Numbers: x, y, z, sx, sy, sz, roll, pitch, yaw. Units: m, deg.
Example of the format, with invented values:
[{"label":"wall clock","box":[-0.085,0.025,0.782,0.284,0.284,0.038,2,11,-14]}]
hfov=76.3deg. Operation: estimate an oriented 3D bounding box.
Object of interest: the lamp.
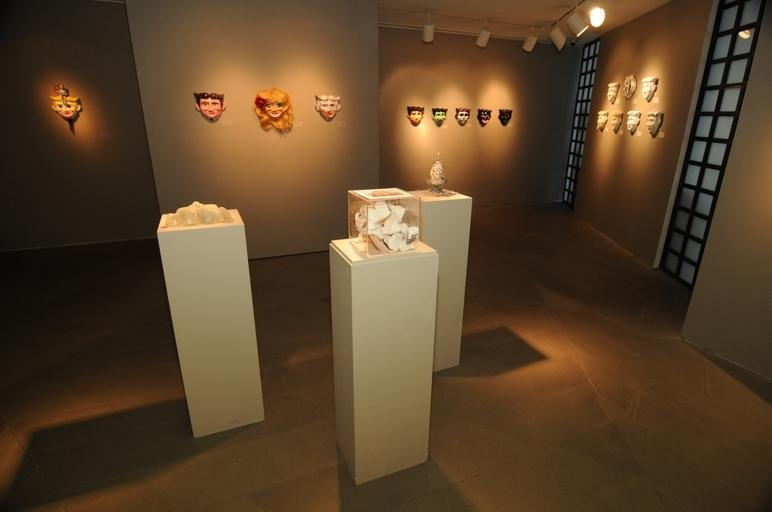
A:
[{"label":"lamp","box":[2.090,-3.949,8.431,1.844,0.681,0.462,5,57,6]}]
